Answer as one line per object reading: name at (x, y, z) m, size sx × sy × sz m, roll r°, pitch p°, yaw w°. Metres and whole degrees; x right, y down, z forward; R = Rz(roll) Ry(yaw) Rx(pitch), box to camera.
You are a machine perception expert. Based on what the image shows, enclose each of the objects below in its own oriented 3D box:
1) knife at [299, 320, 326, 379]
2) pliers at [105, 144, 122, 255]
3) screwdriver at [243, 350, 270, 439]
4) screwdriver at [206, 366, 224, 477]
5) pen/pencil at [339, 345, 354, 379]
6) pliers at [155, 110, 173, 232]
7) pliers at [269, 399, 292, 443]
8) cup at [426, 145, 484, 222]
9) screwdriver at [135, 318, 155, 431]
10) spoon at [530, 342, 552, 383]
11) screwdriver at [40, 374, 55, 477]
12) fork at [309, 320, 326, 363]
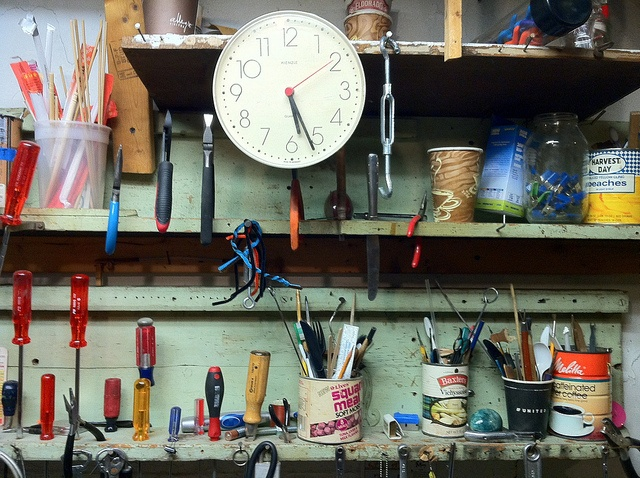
knife at (-0.019, 0.329, 2.613) m, size 0.041 × 0.261 × 0.036 m, roll -18°, pitch 16°, yaw -37°
pliers at (-0.588, -0.112, 2.552) m, size 0.027 × 0.332 × 0.043 m, roll 11°, pitch 9°, yaw 16°
screwdriver at (-0.191, 0.461, 2.638) m, size 0.076 × 0.260 × 0.144 m, roll 0°, pitch -4°, yaw -7°
screwdriver at (-0.310, 0.485, 2.631) m, size 0.050 × 0.214 × 0.097 m, roll 0°, pitch -4°, yaw -6°
pen/pencil at (0.078, 0.363, 2.618) m, size 0.011 × 0.106 × 0.011 m, roll 25°, pitch -9°, yaw 38°
pliers at (-0.460, -0.193, 2.598) m, size 0.046 × 0.345 × 0.194 m, roll 0°, pitch -4°, yaw -10°
pliers at (-0.116, 0.543, 2.645) m, size 0.059 × 0.119 × 0.016 m, roll -10°, pitch -20°, yaw -27°
cup at (0.396, -0.161, 2.699) m, size 0.151 × 0.233 × 0.173 m, roll 2°, pitch -3°, yaw -5°
screwdriver at (-0.531, 0.344, 2.656) m, size 0.037 × 0.196 × 0.058 m, roll 1°, pitch 6°, yaw -26°
spoon at (0.674, 0.366, 2.664) m, size 0.065 × 0.111 × 0.042 m, roll -1°, pitch -4°, yaw -2°
screwdriver at (-0.804, 0.495, 2.615) m, size 0.039 × 0.188 × 0.052 m, roll 0°, pitch -4°, yaw -19°
fork at (-0.004, 0.306, 2.695) m, size 0.026 × 0.188 × 0.027 m, roll -1°, pitch -43°, yaw -8°
